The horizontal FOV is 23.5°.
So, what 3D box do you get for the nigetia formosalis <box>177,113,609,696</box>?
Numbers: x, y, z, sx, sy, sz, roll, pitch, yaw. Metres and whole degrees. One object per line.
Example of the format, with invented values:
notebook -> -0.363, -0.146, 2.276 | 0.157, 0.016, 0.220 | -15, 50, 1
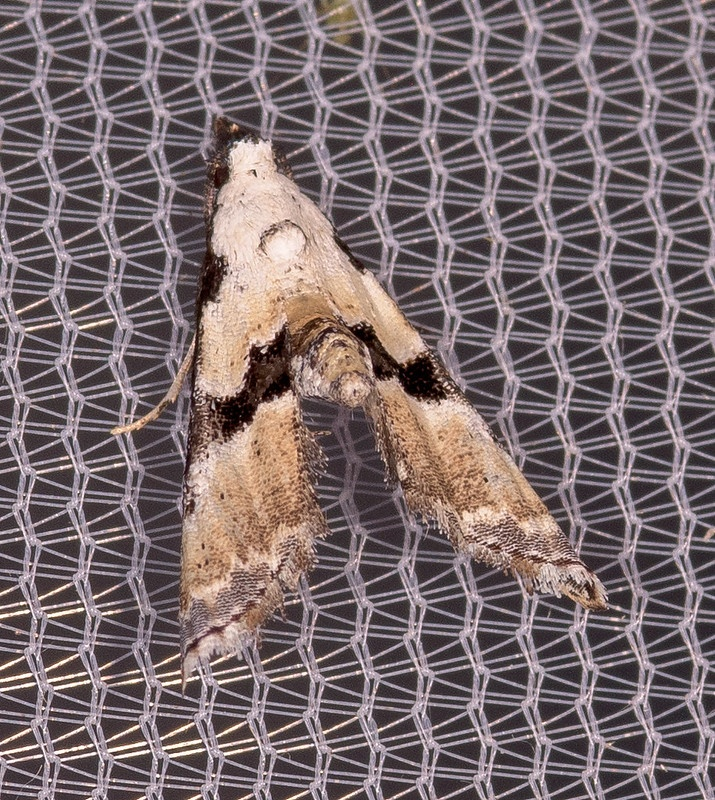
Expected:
nigetia formosalis -> -0.032, 0.041, 1.792 | 0.432, 0.141, 0.519 | -20, 68, -17
